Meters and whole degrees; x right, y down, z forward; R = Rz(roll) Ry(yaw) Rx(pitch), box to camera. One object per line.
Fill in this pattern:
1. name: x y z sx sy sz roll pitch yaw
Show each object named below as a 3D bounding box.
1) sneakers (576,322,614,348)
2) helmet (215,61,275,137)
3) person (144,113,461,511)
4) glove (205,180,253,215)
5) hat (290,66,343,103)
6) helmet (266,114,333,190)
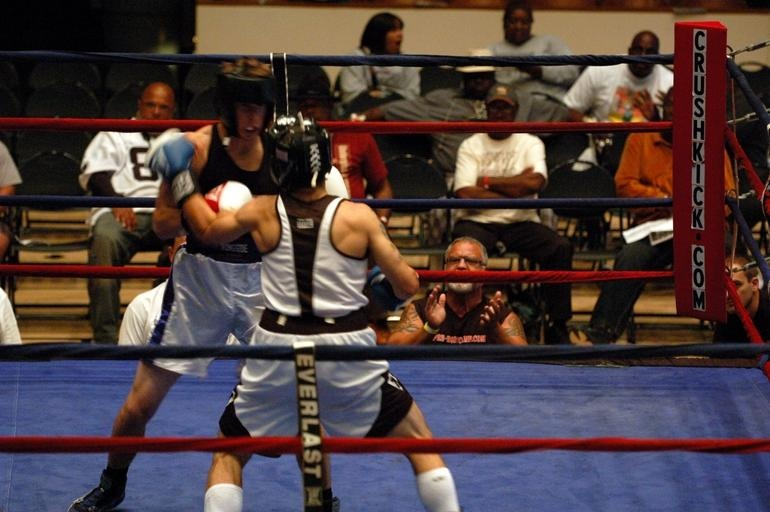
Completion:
1. sneakers: 1.288 0.478 5.816 0.307 0.104 0.115 16 -22 -13
2. helmet: -0.617 -0.702 4.216 0.323 0.323 0.327 -2 0 -15
3. person: -0.335 0.217 3.967 1.373 1.560 0.752 2 18 5
4. glove: -0.677 -0.257 4.223 0.178 0.061 0.149 -31 56 -23
5. hat: -0.538 -1.302 7.088 0.566 0.147 0.477 0 2 -4
6. helmet: -0.374 -0.415 4.017 0.309 0.296 0.327 -3 -9 -15
